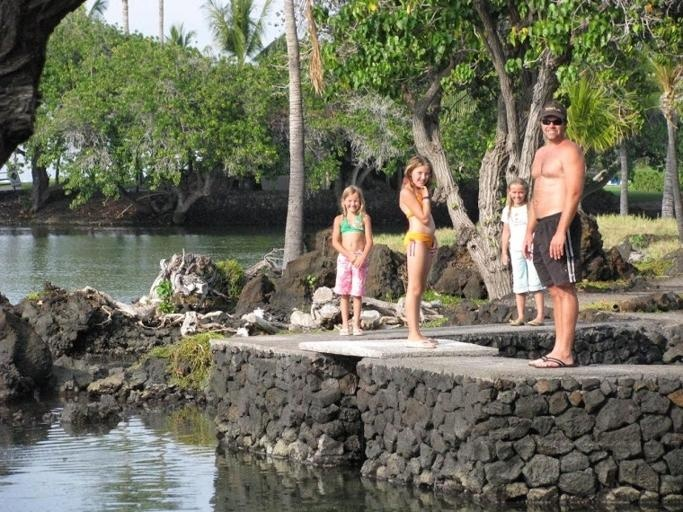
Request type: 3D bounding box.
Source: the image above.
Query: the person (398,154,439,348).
[{"bbox_3d":[1.088,-0.059,16.443,0.469,2.686,0.618,-2,-5,5],"label":"person"}]

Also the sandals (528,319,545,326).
[{"bbox_3d":[3.103,1.064,18.648,0.201,0.084,0.112,5,-6,-20],"label":"sandals"}]

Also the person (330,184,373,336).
[{"bbox_3d":[0.141,0.073,18.039,0.671,2.288,0.552,-5,-6,34],"label":"person"}]

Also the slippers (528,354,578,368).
[{"bbox_3d":[2.825,1.444,15.764,0.445,0.109,0.242,3,-8,-5],"label":"slippers"}]

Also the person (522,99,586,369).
[{"bbox_3d":[2.898,-0.285,15.701,0.821,3.553,0.497,-4,-6,28],"label":"person"}]

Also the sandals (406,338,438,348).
[{"bbox_3d":[1.122,1.230,16.434,0.413,0.185,0.159,-3,-3,19],"label":"sandals"}]
